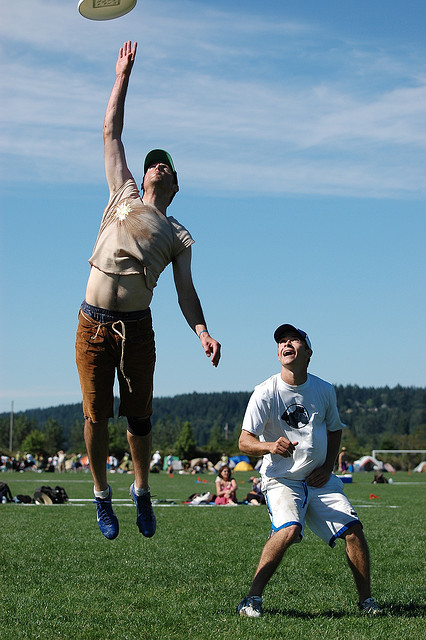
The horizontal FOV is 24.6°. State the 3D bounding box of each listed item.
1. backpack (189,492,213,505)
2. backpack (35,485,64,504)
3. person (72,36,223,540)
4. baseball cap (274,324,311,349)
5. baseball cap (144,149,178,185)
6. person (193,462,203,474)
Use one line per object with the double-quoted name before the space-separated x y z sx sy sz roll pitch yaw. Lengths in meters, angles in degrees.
"backpack" -0.208 3.223 17.507 0.400 0.156 0.141 -21 24 28
"backpack" -2.701 2.879 16.071 0.392 0.140 0.244 45 13 34
"person" -0.571 -0.215 7.180 0.850 3.750 1.164 -2 -3 -27
"baseball cap" 0.595 0.125 7.347 0.254 0.176 0.311 -3 -3 3
"baseball cap" -0.379 -1.113 7.041 0.220 0.213 0.280 -3 -3 -4
"person" -0.610 6.970 46.441 0.251 0.740 0.327 5 -33 -11
